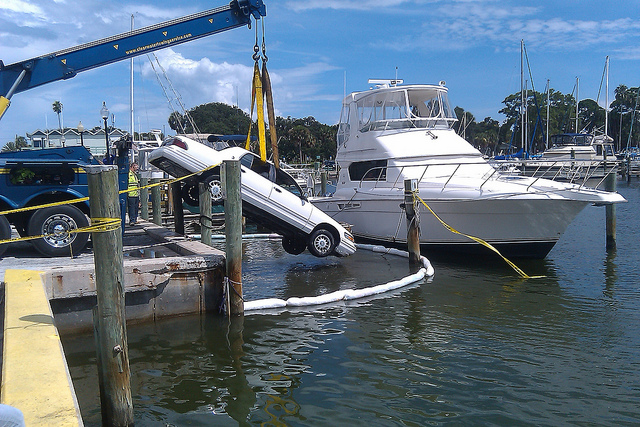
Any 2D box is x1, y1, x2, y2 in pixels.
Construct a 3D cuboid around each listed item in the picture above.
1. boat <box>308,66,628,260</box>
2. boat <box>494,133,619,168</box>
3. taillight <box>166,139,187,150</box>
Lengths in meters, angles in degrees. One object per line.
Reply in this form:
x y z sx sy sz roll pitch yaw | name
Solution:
3.696 -1.533 18.542 11.128 4.674 3.384 11 11 35 | boat
18.084 -4.270 44.562 12.157 3.245 2.978 -7 7 -31 | boat
-3.386 -1.695 14.332 0.306 0.067 0.289 24 8 36 | taillight
